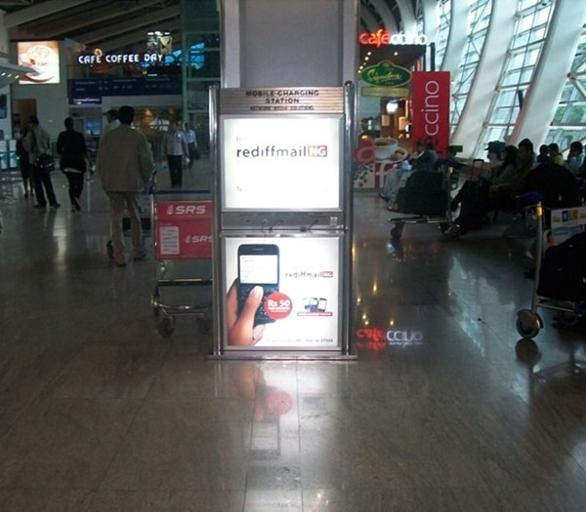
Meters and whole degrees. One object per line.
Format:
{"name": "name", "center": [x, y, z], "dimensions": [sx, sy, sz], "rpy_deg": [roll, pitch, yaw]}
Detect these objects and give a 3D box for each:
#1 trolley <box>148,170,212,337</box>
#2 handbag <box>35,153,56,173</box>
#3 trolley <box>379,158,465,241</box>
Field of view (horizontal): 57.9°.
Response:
{"name": "trolley", "center": [-0.911, -0.065, 4.483], "dimensions": [0.487, 0.871, 0.533], "rpy_deg": [-2, -12, -3]}
{"name": "handbag", "center": [-5.343, -2.036, 11.601], "dimensions": [0.304, 0.440, 0.423], "rpy_deg": [1, 10, 24]}
{"name": "trolley", "center": [2.344, -0.977, 9.427], "dimensions": [1.307, 1.334, 1.286], "rpy_deg": [-3, 9, -37]}
